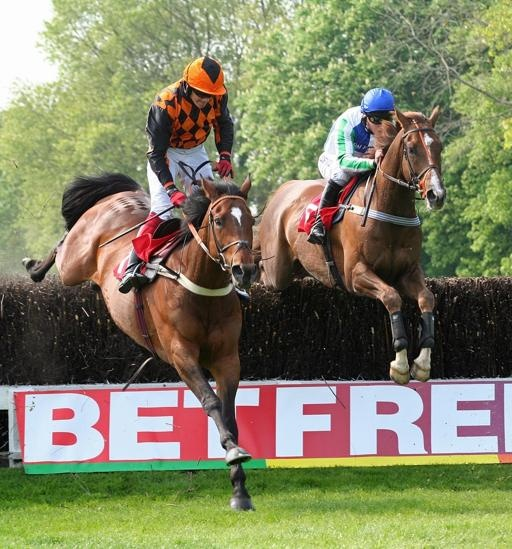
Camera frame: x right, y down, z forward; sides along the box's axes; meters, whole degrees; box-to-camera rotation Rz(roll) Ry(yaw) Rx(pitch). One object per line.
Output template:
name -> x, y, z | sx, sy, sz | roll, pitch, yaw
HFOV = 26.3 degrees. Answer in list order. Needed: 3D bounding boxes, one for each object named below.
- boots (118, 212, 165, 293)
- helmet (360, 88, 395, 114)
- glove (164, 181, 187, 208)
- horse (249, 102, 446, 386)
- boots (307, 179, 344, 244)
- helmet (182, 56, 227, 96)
boots -> -0.973, -0.158, 9.429 | 0.360, 0.654, 0.183 | 9, 16, -38
helmet -> 1.129, -1.601, 10.179 | 0.221, 0.234, 0.287 | -2, 19, -4
glove -> -0.655, -0.644, 9.080 | 0.120, 0.218, 0.150 | 6, -45, -44
horse -> 0.793, -0.286, 11.026 | 0.924, 2.530, 4.042 | -2, 3, -21
boots -> 0.642, -0.601, 10.389 | 0.213, 0.769, 0.277 | 23, -29, -14
helmet -> -0.422, -1.714, 9.298 | 0.378, 0.243, 0.467 | -2, 31, -27
